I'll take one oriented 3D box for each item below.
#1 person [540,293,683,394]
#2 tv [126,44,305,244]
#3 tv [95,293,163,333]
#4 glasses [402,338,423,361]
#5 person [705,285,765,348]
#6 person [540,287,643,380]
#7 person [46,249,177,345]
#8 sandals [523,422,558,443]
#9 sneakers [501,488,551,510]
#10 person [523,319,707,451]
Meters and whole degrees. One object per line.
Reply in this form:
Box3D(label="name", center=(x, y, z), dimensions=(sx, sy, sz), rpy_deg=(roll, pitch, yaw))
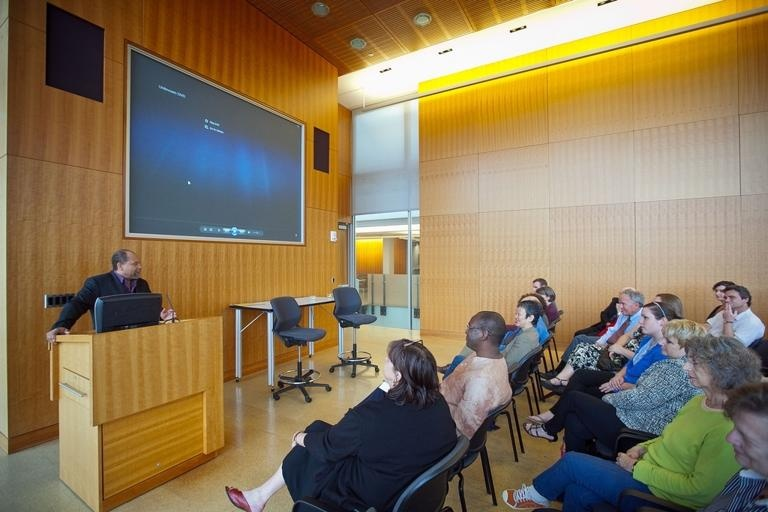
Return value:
Box3D(label="person", center=(2.836, 1.086, 6.677), dimensions=(1.338, 1.492, 0.632), rpy_deg=(4, 23, 7))
Box3D(label="tv", center=(-2.516, -1.618, 7.590), dimensions=(0.116, 2.306, 3.227), rpy_deg=(-5, -6, 37))
Box3D(label="tv", center=(-2.625, 0.573, 5.413), dimensions=(0.613, 0.250, 0.096), rpy_deg=(-3, 2, -35))
Box3D(label="glasses", center=(0.250, 0.831, 4.655), dimensions=(0.192, 0.175, 0.143), rpy_deg=(9, 7, 40))
Box3D(label="person", center=(4.433, 0.757, 6.567), dimensions=(0.400, 0.631, 0.743), rpy_deg=(7, -2, 33))
Box3D(label="person", center=(2.796, 1.070, 6.945), dimensions=(1.127, 1.409, 0.599), rpy_deg=(12, 10, 16))
Box3D(label="person", center=(-3.174, 0.470, 5.963), dimensions=(0.438, 1.222, 1.029), rpy_deg=(-16, -10, 28))
Box3D(label="sandals", center=(1.772, 2.017, 5.983), dimensions=(0.384, 0.176, 0.196), rpy_deg=(8, 7, 43))
Box3D(label="sneakers", center=(1.399, 2.396, 5.158), dimensions=(0.478, 0.193, 0.179), rpy_deg=(1, 47, 15))
Box3D(label="person", center=(2.273, 1.372, 5.521), dimensions=(1.475, 1.741, 0.757), rpy_deg=(9, 15, 4))
